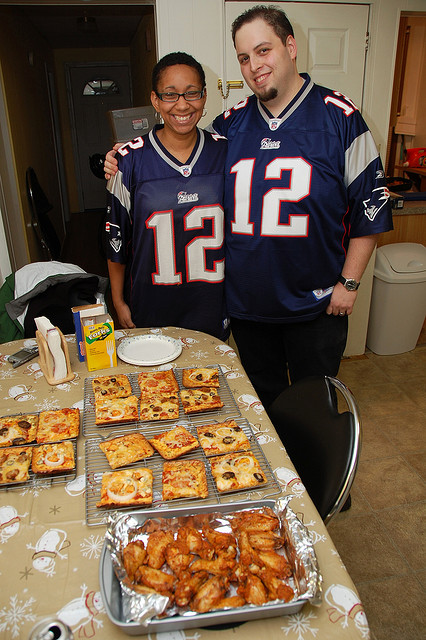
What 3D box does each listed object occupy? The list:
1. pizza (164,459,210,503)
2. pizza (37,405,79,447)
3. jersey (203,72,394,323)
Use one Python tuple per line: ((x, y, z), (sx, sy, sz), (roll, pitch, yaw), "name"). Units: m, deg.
((-0.059, 0.329, 0.900), (0.095, 0.020, 0.099), (1, 31, -1), "pizza")
((-0.390, 0.262, 1.097), (0.099, 0.019, 0.114), (-4, 27, -15), "pizza")
((0.279, -0.481, 1.801), (0.891, 0.888, 0.386), (8, 24, 25), "jersey")
